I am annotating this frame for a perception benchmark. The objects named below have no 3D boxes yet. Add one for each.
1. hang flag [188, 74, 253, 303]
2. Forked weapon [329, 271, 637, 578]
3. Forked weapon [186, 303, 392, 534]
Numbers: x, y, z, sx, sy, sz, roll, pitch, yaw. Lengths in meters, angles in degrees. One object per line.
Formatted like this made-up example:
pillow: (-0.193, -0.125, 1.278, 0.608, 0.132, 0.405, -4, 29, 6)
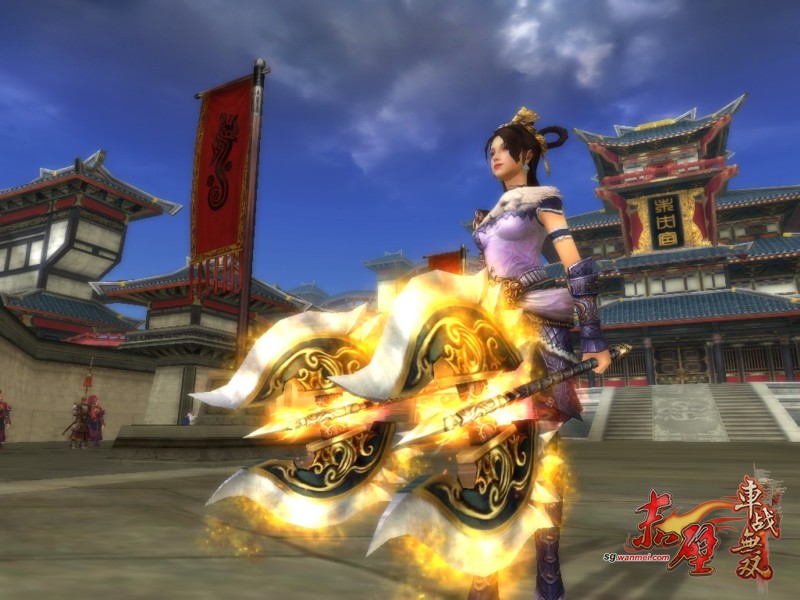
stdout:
hang flag: (-2.403, -1.748, 6.638, 1.237, 2.534, 0.455, -14, -17, 38)
Forked weapon: (0.247, 0.381, 1.599, 1.196, 0.898, 0.138, 6, -12, -44)
Forked weapon: (-0.355, 0.409, 1.848, 1.019, 0.768, 0.139, -13, 12, -27)
